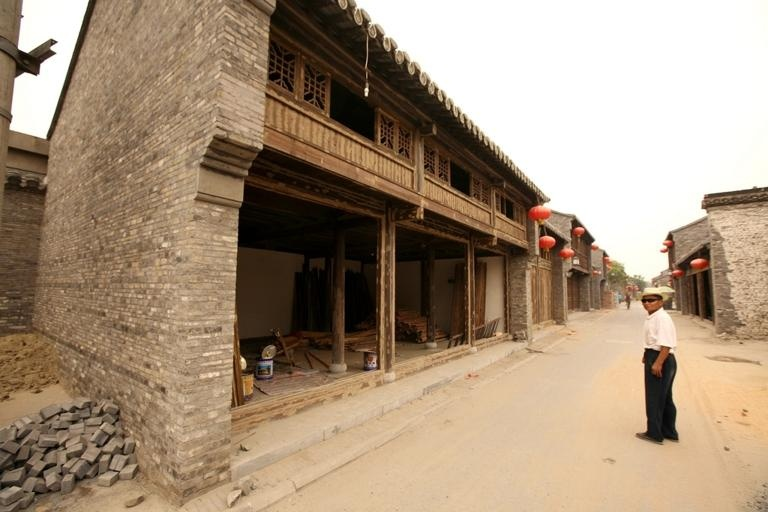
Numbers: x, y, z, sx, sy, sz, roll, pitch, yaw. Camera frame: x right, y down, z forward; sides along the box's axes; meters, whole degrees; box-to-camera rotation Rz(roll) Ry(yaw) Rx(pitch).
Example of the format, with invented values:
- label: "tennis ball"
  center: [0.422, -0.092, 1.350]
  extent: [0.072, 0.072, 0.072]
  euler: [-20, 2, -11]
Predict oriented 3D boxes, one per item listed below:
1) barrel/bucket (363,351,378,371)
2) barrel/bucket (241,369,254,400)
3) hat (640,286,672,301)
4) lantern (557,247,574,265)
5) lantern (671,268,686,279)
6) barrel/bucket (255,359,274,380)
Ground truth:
- label: "barrel/bucket"
  center: [-0.397, 2.680, 12.647]
  extent: [0.451, 0.441, 0.432]
  euler: [0, -11, 0]
- label: "barrel/bucket"
  center: [-2.927, 2.812, 10.683]
  extent: [0.161, 0.525, 0.451]
  euler: [-2, -11, -6]
- label: "hat"
  center: [5.745, 0.772, 10.483]
  extent: [0.447, 0.113, 0.442]
  euler: [-7, -12, 12]
- label: "lantern"
  center: [9.240, 0.044, 25.209]
  extent: [0.974, 0.757, 0.934]
  euler: [-8, -1, 45]
- label: "lantern"
  center: [18.230, 1.064, 30.464]
  extent: [0.674, 0.478, 0.647]
  euler: [-8, -6, -26]
- label: "barrel/bucket"
  center: [-2.807, 2.661, 11.725]
  extent: [0.515, 0.501, 0.494]
  euler: [0, -4, 0]
